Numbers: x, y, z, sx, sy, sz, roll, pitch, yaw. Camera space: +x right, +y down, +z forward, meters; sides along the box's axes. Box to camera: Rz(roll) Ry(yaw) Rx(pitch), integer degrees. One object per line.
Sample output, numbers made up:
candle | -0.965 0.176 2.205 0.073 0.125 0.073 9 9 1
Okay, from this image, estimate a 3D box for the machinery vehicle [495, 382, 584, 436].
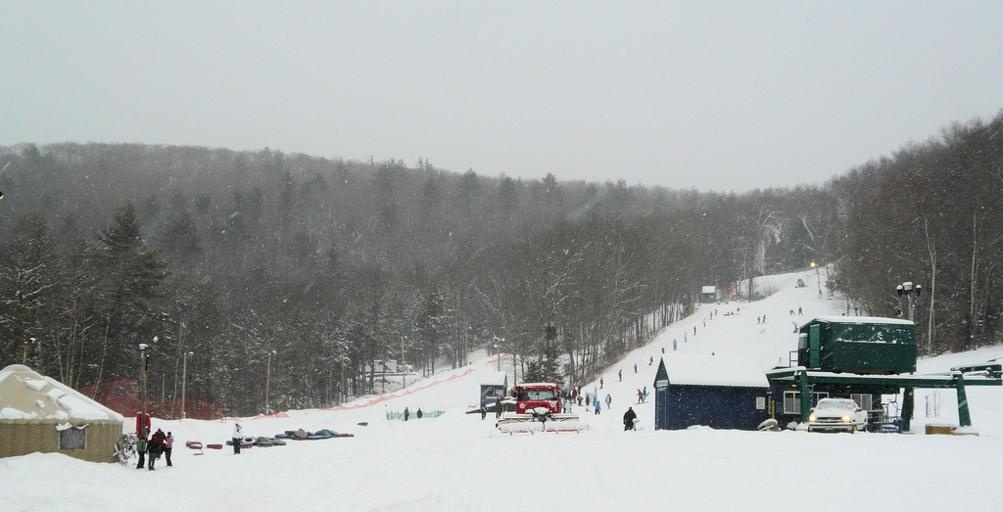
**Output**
machinery vehicle | 4.852 20.972 168.654 10.414 6.365 5.989 -7 5 0
